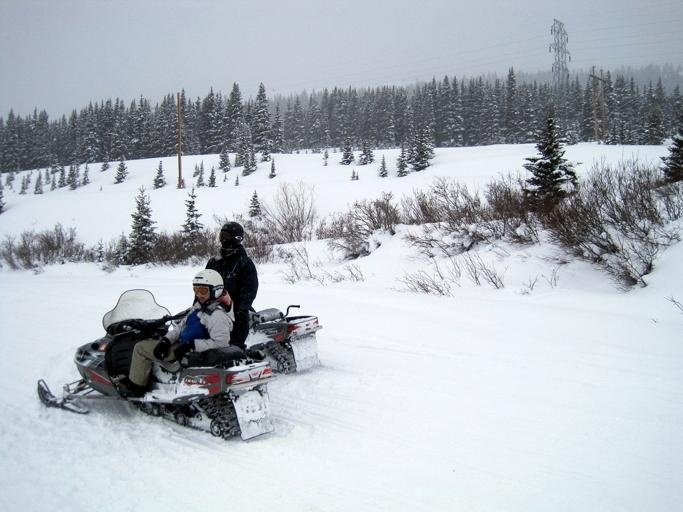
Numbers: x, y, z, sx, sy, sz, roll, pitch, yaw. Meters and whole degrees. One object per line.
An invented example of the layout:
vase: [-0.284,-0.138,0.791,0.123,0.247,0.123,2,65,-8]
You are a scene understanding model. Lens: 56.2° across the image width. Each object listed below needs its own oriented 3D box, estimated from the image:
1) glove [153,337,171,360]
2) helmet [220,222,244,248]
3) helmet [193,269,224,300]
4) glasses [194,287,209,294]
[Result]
glove: [-2.953,1.520,10.487,0.290,0.357,0.184,-6,6,-19]
helmet: [-2.028,-0.384,11.877,0.371,0.511,0.454,6,2,29]
helmet: [-2.247,0.493,10.766,0.457,0.641,0.546,4,5,44]
glasses: [-2.342,0.570,10.576,0.289,0.101,0.094,-1,6,33]
